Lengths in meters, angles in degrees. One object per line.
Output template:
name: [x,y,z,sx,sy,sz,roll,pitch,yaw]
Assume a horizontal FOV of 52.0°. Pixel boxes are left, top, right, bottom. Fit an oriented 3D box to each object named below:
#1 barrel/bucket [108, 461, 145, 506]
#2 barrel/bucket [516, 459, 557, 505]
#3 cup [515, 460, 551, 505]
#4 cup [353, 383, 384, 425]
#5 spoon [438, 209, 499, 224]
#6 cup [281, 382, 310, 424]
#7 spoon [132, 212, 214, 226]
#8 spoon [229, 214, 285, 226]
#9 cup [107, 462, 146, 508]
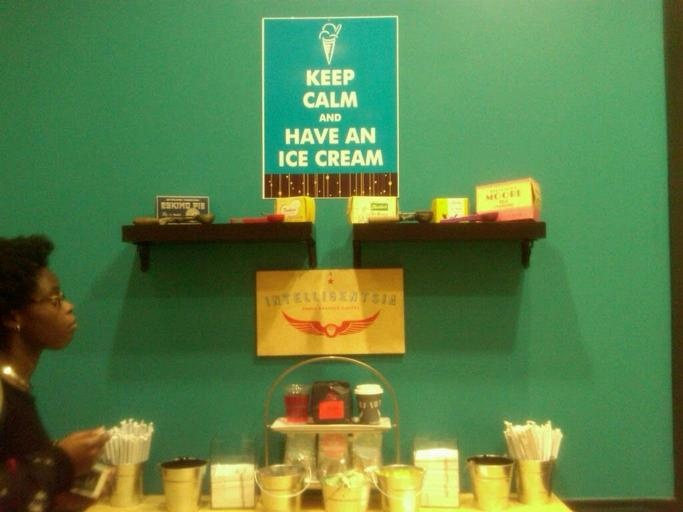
barrel/bucket: [-0.935,0.997,3.136,0.181,0.205,0.188,1,-8,0]
barrel/bucket: [0.892,0.993,3.145,0.173,0.201,0.176,3,-6,0]
cup: [0.858,0.985,3.098,0.169,0.191,0.171,2,-8,0]
cup: [0.123,0.642,3.058,0.143,0.148,0.148,0,-9,0]
spoon: [0.584,-0.167,3.154,0.264,0.059,0.080,1,-10,7]
cup: [-0.198,0.667,3.188,0.108,0.165,0.183,2,-9,-1]
spoon: [-0.754,-0.167,3.209,0.268,0.057,0.065,-1,9,-4]
spoon: [-0.376,-0.166,3.176,0.244,0.064,0.102,3,-10,-4]
cup: [-0.939,1.008,3.137,0.187,0.212,0.195,1,-8,0]
